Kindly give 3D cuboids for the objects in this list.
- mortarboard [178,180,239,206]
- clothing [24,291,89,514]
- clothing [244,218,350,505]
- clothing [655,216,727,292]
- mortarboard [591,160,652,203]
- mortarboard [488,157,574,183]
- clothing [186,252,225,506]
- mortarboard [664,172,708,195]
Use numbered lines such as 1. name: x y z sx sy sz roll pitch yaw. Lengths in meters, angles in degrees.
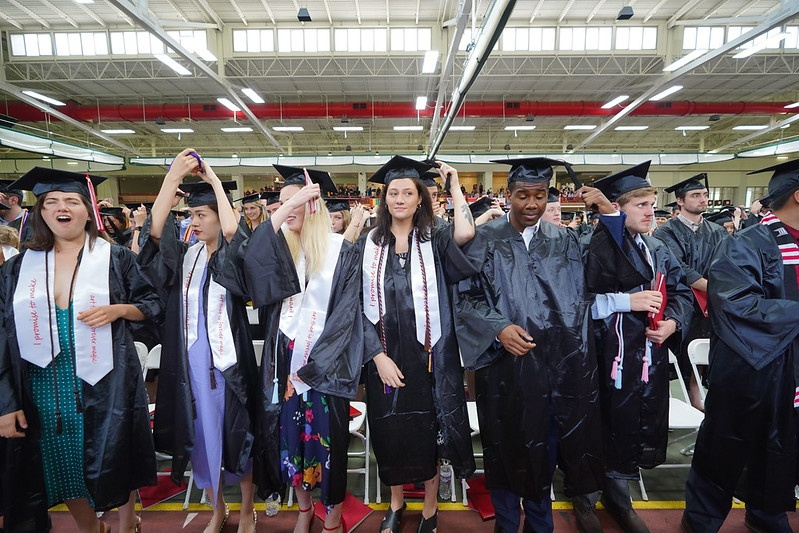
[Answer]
1. mortarboard: -2.018 -0.748 5.936 0.522 0.172 0.342 -2 -5 -3
2. clothing: -3.353 1.353 5.633 0.533 1.969 0.097 1 2 0
3. clothing: -0.961 0.945 5.764 1.149 2.778 0.457 1 2 -12
4. clothing: 3.436 -0.123 6.712 0.986 0.878 0.574 -1 -7 0
5. mortarboard: 2.309 -0.971 5.915 0.497 0.165 0.496 -18 -20 14
6. mortarboard: 1.376 -0.974 5.796 0.374 0.143 0.498 4 -1 -10
7. clothing: -1.953 1.125 5.794 0.389 2.657 0.229 2 2 30
8. mortarboard: 3.702 -1.057 7.363 0.459 0.134 0.471 -5 -6 22
